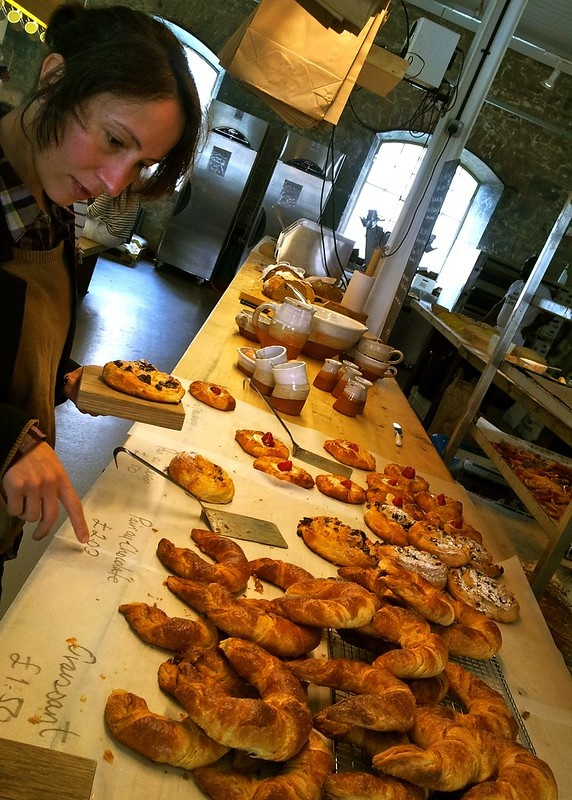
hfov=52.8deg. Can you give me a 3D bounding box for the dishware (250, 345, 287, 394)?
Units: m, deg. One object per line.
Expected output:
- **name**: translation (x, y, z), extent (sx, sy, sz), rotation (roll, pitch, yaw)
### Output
- **dishware**: translation (-0.053, -0.103, 1.985), extent (0.109, 0.150, 0.175), rotation (-1, 17, 1)

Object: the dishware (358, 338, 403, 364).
- **dishware**: translation (0.454, -0.260, 2.794), extent (0.127, 0.080, 0.184), rotation (24, 3, -25)

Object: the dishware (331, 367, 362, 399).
- **dishware**: translation (0.218, -0.083, 2.340), extent (0.086, 0.131, 0.134), rotation (29, 7, -7)

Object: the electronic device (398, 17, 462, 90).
- **electronic device**: translation (0.873, -2.126, 3.541), extent (0.304, 0.411, 0.480), rotation (22, 24, -1)

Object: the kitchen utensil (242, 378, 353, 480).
- **kitchen utensil**: translation (0.027, 0.094, 1.814), extent (0.058, 0.068, 0.398), rotation (-10, 51, -46)

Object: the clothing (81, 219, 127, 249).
- **clothing**: translation (-1.459, -1.323, 4.629), extent (0.265, 0.109, 0.192), rotation (20, 7, -32)

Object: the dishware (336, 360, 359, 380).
- **dishware**: translation (0.254, -0.121, 2.364), extent (0.063, 0.080, 0.083), rotation (2, 9, 14)

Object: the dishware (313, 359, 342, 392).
- **dishware**: translation (0.187, -0.100, 2.493), extent (0.093, 0.137, 0.149), rotation (27, -1, 15)

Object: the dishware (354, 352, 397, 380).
- **dishware**: translation (0.458, -0.156, 2.875), extent (0.206, 0.095, 0.140), rotation (13, 6, -12)

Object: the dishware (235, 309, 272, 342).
- **dishware**: translation (-0.153, -0.321, 2.438), extent (0.113, 0.068, 0.166), rotation (8, 3, 8)

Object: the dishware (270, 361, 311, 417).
- **dishware**: translation (-0.021, -0.055, 1.980), extent (0.193, 0.173, 0.121), rotation (10, 30, 18)

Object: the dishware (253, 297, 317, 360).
- **dishware**: translation (-0.026, -0.289, 2.289), extent (0.257, 0.232, 0.159), rotation (22, 15, 9)
